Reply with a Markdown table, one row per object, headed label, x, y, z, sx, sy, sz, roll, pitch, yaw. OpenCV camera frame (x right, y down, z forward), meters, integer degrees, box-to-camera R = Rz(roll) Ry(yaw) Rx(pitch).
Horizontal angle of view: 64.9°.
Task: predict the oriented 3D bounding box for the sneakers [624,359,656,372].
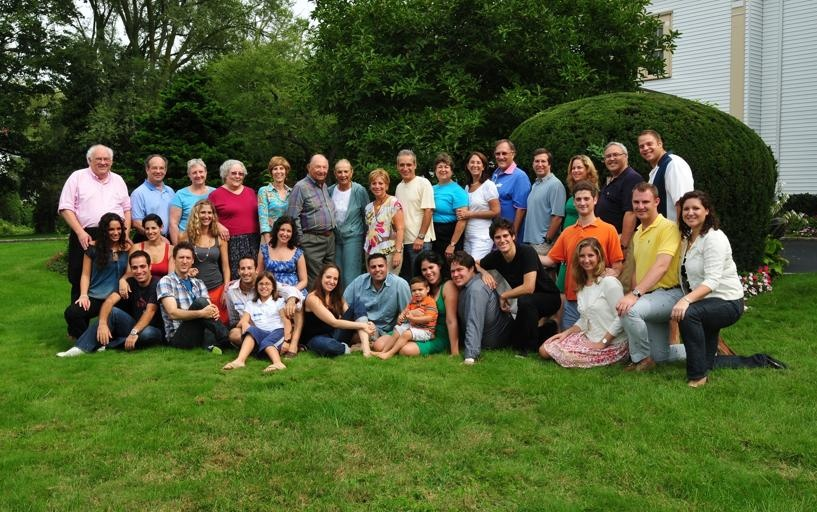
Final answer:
| label | x | y | z | sx | sy | sz | roll | pitch | yaw |
| --- | --- | --- | --- | --- | --- | --- | --- | --- | --- |
| sneakers | 2.958 | 1.396 | 8.201 | 0.415 | 0.155 | 0.158 | -2 | -11 | 7 |

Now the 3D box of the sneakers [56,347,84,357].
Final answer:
| label | x | y | z | sx | sy | sz | roll | pitch | yaw |
| --- | --- | --- | --- | --- | --- | --- | --- | --- | --- |
| sneakers | -4.793 | 1.357 | 9.132 | 0.445 | 0.182 | 0.144 | 2 | -5 | 2 |

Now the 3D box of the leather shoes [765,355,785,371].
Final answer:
| label | x | y | z | sx | sy | sz | roll | pitch | yaw |
| --- | --- | --- | --- | --- | --- | --- | --- | --- | --- |
| leather shoes | 4.654 | 1.329 | 8.124 | 0.209 | 0.150 | 0.311 | 4 | 5 | 40 |
